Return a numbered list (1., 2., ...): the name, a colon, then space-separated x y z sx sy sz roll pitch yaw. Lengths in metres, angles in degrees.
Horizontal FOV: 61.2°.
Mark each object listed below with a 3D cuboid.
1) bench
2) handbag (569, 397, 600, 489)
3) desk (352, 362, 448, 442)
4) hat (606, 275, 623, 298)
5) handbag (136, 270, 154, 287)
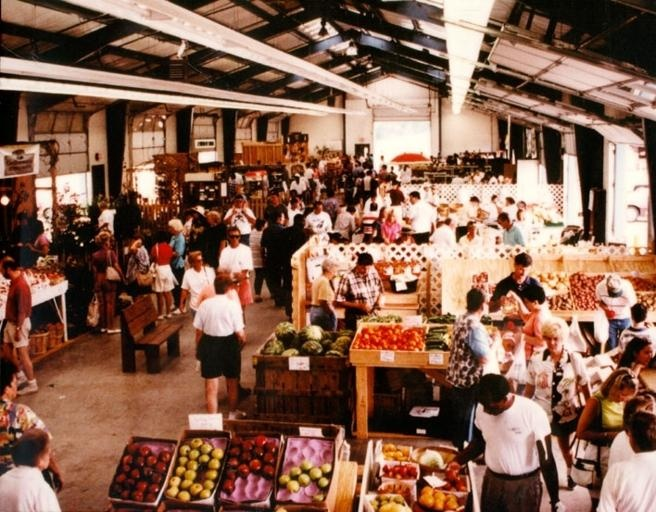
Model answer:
1. bench: -2.766 1.199 8.522 0.717 1.123 1.043 1 14 -3
2. handbag: 2.220 1.597 4.723 0.279 0.887 0.319 3 8 16
3. desk: 0.779 1.730 6.649 0.854 0.721 0.873 0 0 23
4. hat: 3.518 0.377 6.817 0.167 0.277 0.104 -2 -8 16
5. handbag: -3.408 0.396 10.344 0.102 0.292 0.289 -1 2 42
